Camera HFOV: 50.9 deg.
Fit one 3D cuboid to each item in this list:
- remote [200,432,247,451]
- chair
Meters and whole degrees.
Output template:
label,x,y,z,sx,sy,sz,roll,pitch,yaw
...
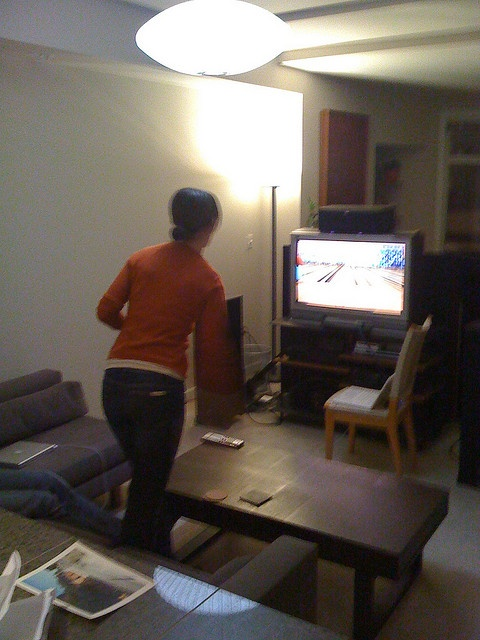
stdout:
label,x,y,z,sx,sy,sz,roll,pitch,yaw
remote,-0.037,0.241,1.012,0.068,0.013,0.036,9,17,20
chair,0.263,0.145,0.982,0.168,0.304,0.146,6,10,35
